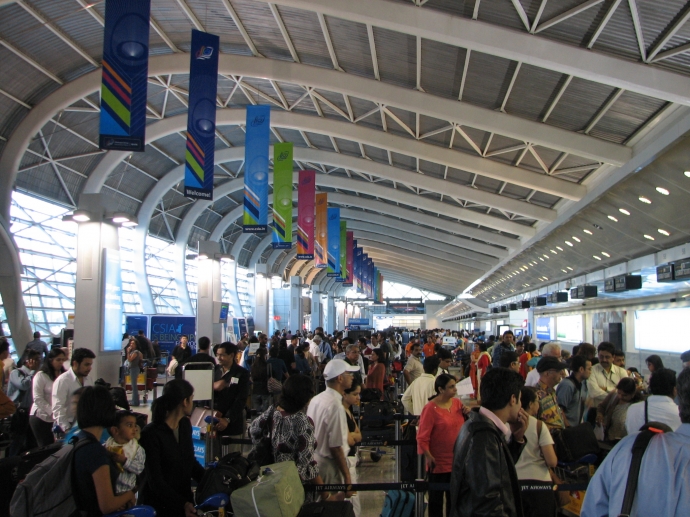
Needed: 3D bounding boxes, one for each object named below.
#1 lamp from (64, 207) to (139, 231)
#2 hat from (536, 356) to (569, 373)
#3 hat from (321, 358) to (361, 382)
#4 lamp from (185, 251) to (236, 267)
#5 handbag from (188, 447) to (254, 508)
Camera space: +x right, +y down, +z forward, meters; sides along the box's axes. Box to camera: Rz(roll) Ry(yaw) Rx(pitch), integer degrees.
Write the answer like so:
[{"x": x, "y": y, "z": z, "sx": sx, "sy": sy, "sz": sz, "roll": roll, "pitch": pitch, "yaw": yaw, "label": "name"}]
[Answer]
[{"x": -6.096, "y": -0.881, "z": 13.057, "sx": 1.636, "sy": 0.395, "sz": 1.489, "roll": 8, "pitch": -12, "yaw": -30, "label": "lamp"}, {"x": 2.686, "y": 1.410, "z": 6.845, "sx": 0.293, "sy": 0.174, "sz": 0.228, "roll": -11, "pitch": 1, "yaw": -3, "label": "hat"}, {"x": -0.051, "y": 1.350, "z": 6.474, "sx": 0.395, "sy": 0.231, "sz": 0.260, "roll": -9, "pitch": 3, "yaw": -15, "label": "hat"}, {"x": -6.764, "y": 0.194, "z": 25.463, "sx": 2.765, "sy": 0.891, "sz": 0.282, "roll": 4, "pitch": 4, "yaw": 4, "label": "lamp"}, {"x": -1.143, "y": 2.203, "z": 5.141, "sx": 0.471, "sy": 0.422, "sz": 0.640, "roll": -5, "pitch": -12, "yaw": 32, "label": "handbag"}]
